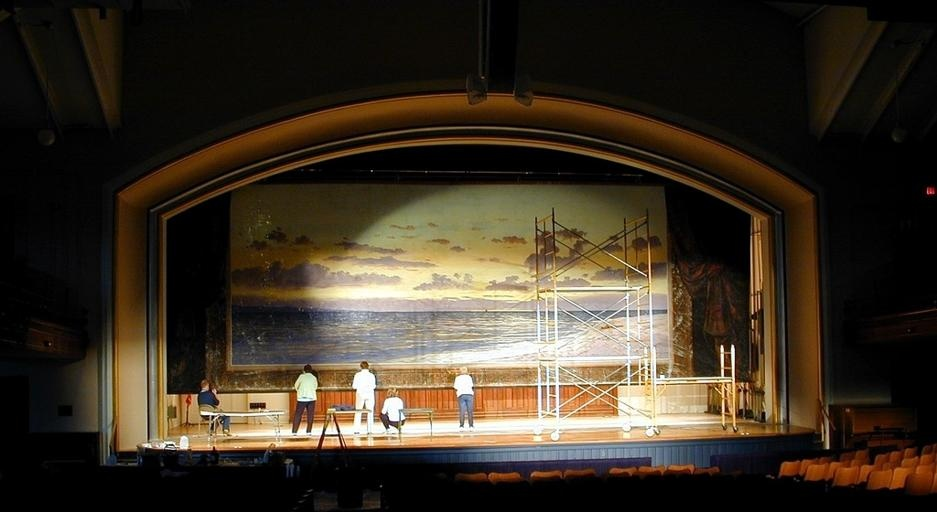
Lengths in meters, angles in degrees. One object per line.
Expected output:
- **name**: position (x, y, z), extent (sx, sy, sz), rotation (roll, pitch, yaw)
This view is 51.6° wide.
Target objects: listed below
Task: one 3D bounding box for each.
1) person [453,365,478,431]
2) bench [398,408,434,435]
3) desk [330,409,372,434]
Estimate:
- **person**: position (-0.105, 3.826, 26.207), extent (0.444, 1.682, 1.113), rotation (-4, -15, 2)
- **bench**: position (-1.440, 4.439, 26.486), extent (1.037, 0.581, 0.924), rotation (1, -9, -10)
- **desk**: position (-3.157, 4.370, 25.860), extent (1.160, 0.705, 3.836), rotation (-1, -13, -7)
